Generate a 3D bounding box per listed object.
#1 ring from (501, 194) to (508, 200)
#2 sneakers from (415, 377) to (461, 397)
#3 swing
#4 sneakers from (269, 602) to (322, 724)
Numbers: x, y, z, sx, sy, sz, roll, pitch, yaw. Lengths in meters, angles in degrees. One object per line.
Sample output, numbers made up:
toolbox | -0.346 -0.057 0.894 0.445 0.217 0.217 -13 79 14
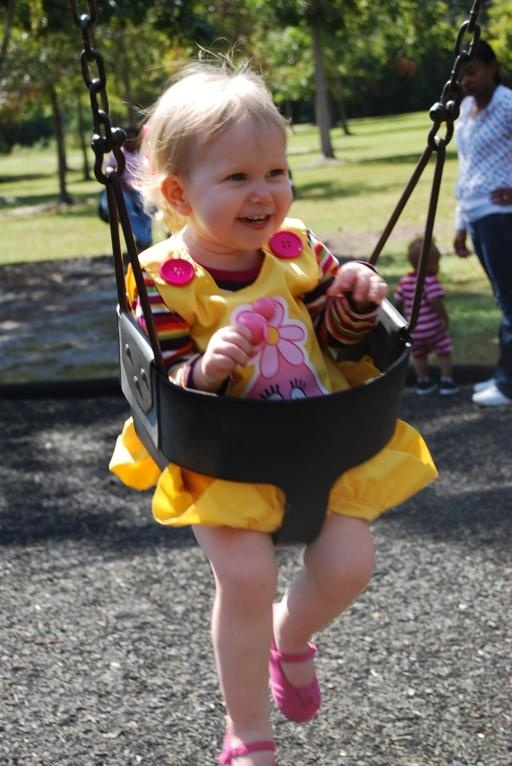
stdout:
ring | 0.972 -0.726 3.182 0.019 0.024 0.005 5 3 10
sneakers | 0.804 0.023 3.622 0.204 0.079 0.073 -2 0 -24
swing | 0.069 -0.176 1.335 0.628 0.888 0.436 -6 12 -11
sneakers | 0.044 0.530 1.530 0.071 0.077 0.198 -5 33 -18
